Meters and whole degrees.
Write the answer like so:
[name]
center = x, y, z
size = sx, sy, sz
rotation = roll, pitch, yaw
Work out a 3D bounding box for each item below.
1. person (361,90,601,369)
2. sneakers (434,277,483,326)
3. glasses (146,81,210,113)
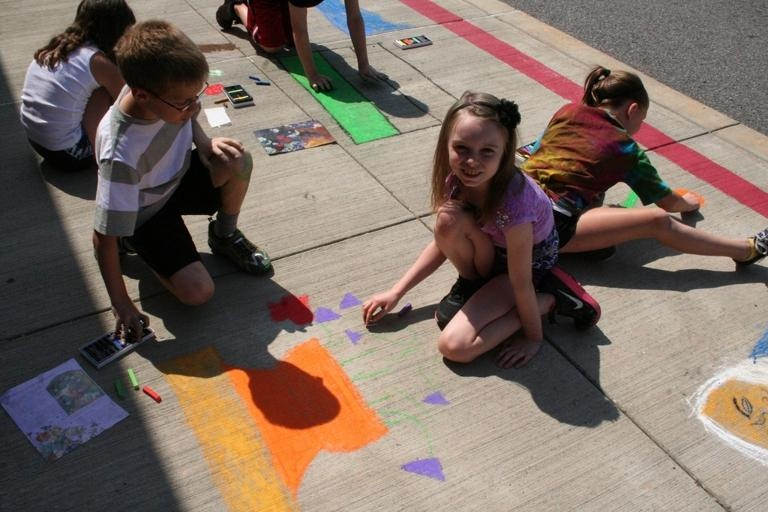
[person]
center = 0.609, -0.129, 3.052
size = 0.893, 1.202, 1.135
rotation = -19, 51, -23
[sneakers]
center = 0.447, 0.274, 3.241
size = 0.296, 0.131, 0.095
rotation = -40, 43, 2
[glasses]
center = -1.062, -0.849, 2.963
size = 0.312, 0.143, 0.128
rotation = -31, 57, -33
